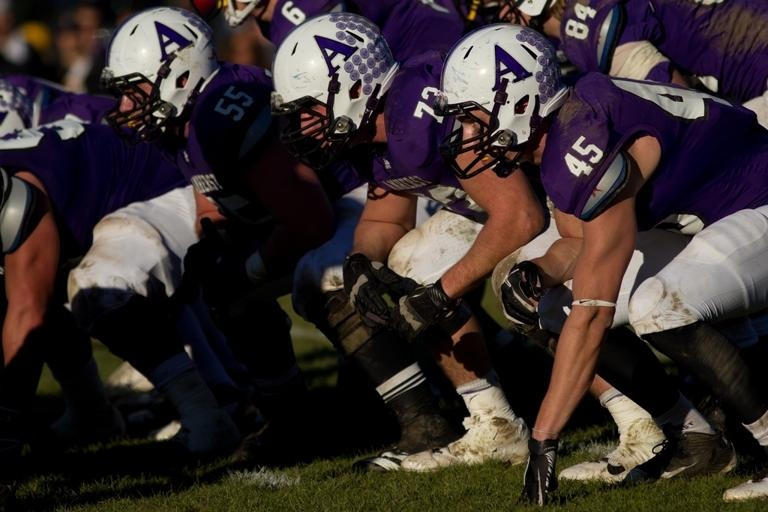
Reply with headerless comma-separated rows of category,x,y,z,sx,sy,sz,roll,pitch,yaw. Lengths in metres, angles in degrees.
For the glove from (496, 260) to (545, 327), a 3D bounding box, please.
glove,0.694,0.175,5.034,0.221,0.294,0.246,14,32,6
